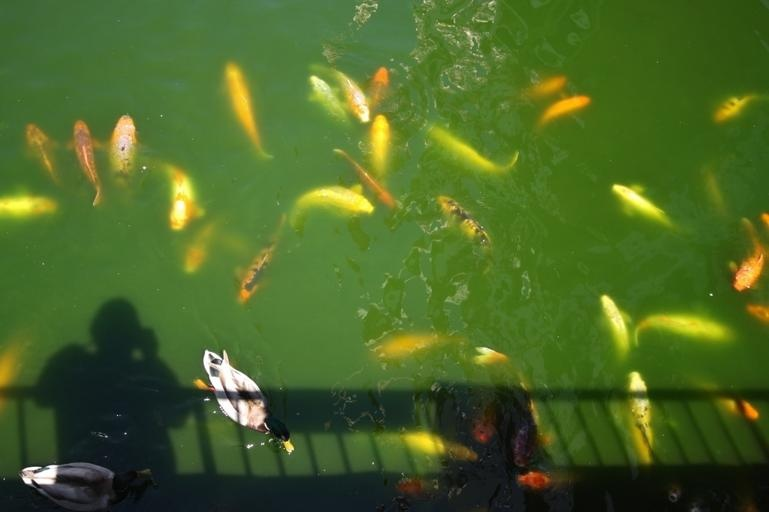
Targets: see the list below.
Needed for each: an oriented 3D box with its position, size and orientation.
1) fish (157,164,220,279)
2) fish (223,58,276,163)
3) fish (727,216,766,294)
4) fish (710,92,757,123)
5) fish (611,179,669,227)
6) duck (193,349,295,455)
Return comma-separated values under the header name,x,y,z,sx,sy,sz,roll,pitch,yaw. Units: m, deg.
name,x,y,z,sx,sy,sz,roll,pitch,yaw
fish,-1.494,-0.294,7.448,0.363,0.821,0.159,-5,-13,-12
fish,-1.077,-1.134,7.538,0.309,0.768,0.097,3,-16,-37
fish,2.891,0.024,7.657,0.282,0.463,0.104,16,-6,2
fish,2.776,-1.181,7.632,0.337,0.198,0.092,-28,-2,4
fish,2.036,-0.403,7.601,0.442,0.382,0.063,-4,-14,-17
duck,-1.092,1.117,7.453,0.476,0.913,0.358,-46,11,-16
